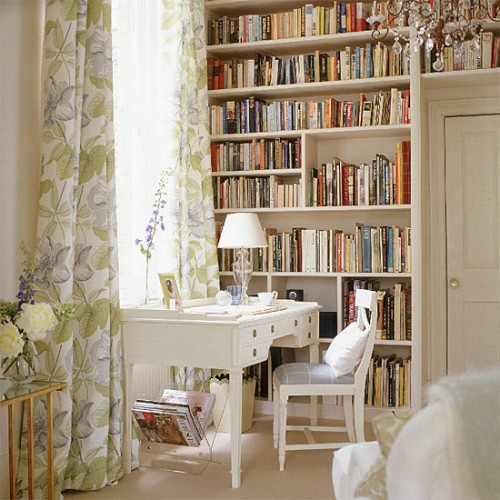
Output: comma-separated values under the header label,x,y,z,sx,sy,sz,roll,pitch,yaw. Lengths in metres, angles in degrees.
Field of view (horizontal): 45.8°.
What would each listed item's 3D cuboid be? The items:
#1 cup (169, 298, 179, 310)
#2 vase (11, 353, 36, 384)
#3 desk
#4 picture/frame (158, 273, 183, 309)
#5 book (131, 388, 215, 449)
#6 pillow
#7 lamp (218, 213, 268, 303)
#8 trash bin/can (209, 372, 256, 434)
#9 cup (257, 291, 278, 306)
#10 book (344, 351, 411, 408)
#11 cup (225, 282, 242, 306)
label,x,y,z,sx,sy,sz,roll,pitch,yaw
cup,-0.360,0.262,2.856,0.035,0.085,0.041,1,5,4
vase,-0.823,0.437,2.218,0.076,0.140,0.087,0,0,12
desk,-0.114,0.791,3.050,0.596,0.965,1.142,-1,-1,21
picture/frame,-0.407,0.206,3.063,0.020,0.233,0.160,-15,-4,18
book,-0.367,0.807,2.840,0.271,0.334,0.116,4,33,24
pillow,0.467,0.516,2.939,0.142,0.213,0.416,0,-7,-2
lamp,-0.038,0.037,3.338,0.230,0.556,0.254,-6,16,-21
trash bin/can,-0.073,0.898,3.592,0.295,0.428,0.306,-1,-2,34
cup,0.114,0.273,3.348,0.088,0.069,0.066,2,-5,-20
book,0.796,0.775,3.578,0.230,0.407,0.284,1,-2,7
cup,-0.092,0.245,3.373,0.081,0.162,0.101,-2,0,13
